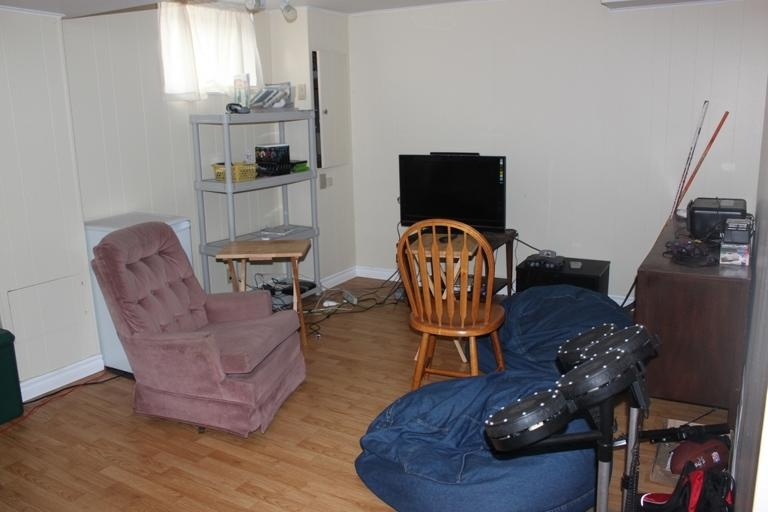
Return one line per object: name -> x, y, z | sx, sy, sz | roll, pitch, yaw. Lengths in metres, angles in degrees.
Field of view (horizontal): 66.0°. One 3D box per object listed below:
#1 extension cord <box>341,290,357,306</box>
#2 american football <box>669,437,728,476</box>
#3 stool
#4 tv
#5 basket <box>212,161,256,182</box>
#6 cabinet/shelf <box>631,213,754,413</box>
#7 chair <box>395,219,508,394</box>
extension cord -> -0.349, 0.410, 5.947 | 0.139, 0.035, 0.391 | -6, 17, -11
american football -> 1.769, 1.137, 3.337 | 0.318, 0.099, 0.220 | -7, 8, -16
stool -> -0.967, 0.307, 5.016 | 0.646, 0.610, 0.621 | 1, -2, -3
tv -> 0.647, -0.578, 5.562 | 1.078, 0.751, 0.264 | 6, 15, 31
basket -> -1.260, -0.717, 5.130 | 0.199, 0.104, 0.281 | 1, 3, 24
cabinet/shelf -> 2.015, 0.406, 3.818 | 0.453, 0.658, 1.274 | 3, 14, 25
chair -> 0.539, 0.395, 4.377 | 0.860, 1.299, 0.813 | -2, 9, -10
